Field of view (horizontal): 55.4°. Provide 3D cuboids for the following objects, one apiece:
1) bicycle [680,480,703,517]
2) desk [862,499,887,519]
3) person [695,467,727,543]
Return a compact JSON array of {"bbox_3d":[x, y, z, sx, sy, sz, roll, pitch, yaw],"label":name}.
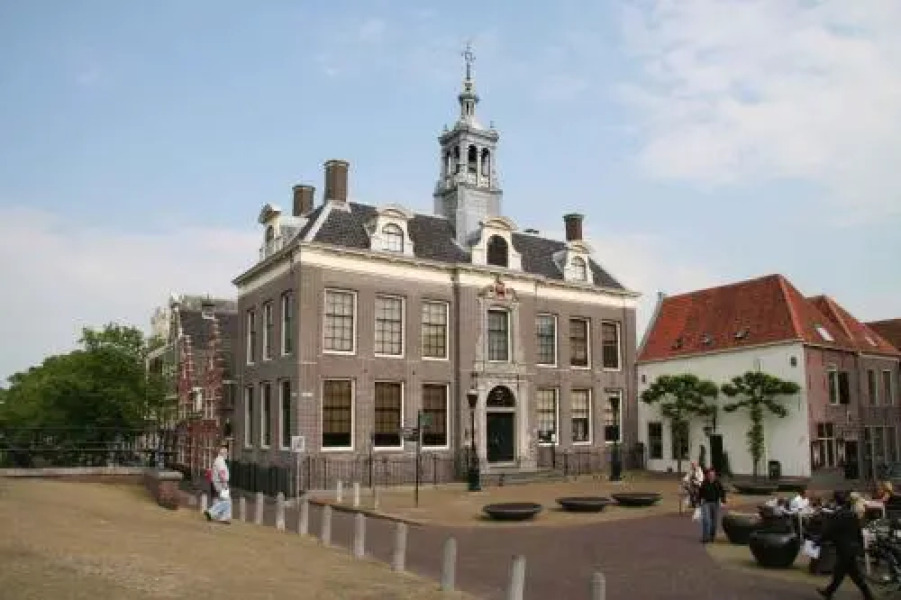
[{"bbox_3d":[9.200,7.720,33.201,0.936,1.096,1.943,-5,-23,27],"label":"bicycle"},{"bbox_3d":[14.011,6.980,28.376,0.675,0.437,0.956,-2,-10,16],"label":"desk"},{"bbox_3d":[8.884,6.998,29.109,0.751,2.444,1.573,-2,-13,18],"label":"person"}]
